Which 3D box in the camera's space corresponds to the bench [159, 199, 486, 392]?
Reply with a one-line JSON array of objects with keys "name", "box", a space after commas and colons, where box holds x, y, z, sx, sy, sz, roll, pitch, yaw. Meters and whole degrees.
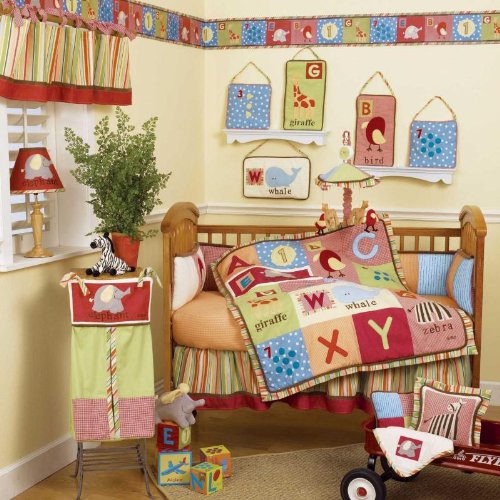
[{"name": "bench", "box": [0.410, 0.182, 2.691, 1.552, 0.840, 1.229, 1, 3, 3]}]

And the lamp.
[{"name": "lamp", "box": [-0.794, -0.175, 1.889, 0.182, 0.410, 0.257, 0, 4, -9]}]

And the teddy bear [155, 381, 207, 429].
[{"name": "teddy bear", "box": [-0.293, 0.641, 2.054, 0.239, 0.126, 0.110, -7, -6, 34]}]
